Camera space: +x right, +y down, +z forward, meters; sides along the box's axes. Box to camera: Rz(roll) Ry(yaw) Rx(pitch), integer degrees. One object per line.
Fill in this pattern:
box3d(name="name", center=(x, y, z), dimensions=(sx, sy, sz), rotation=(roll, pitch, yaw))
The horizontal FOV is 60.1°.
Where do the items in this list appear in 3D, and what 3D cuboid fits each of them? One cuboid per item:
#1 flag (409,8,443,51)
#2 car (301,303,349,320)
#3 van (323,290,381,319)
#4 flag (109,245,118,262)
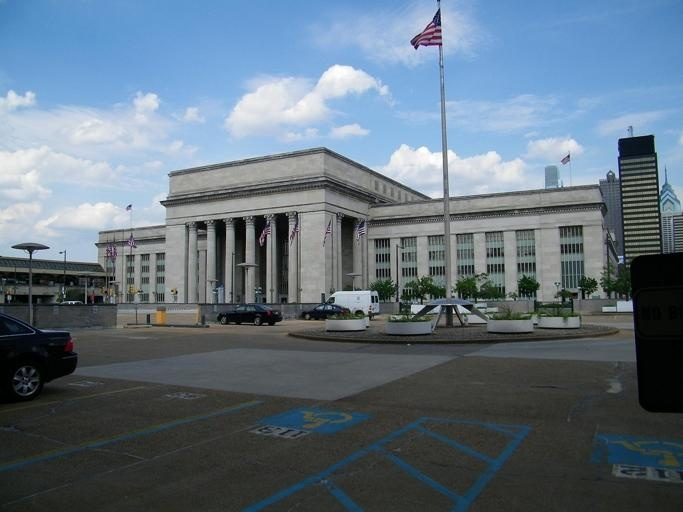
box3d(name="flag", center=(4.360, -11.240, 28.890), dimensions=(1.242, 2.154, 1.402), rotation=(-1, -2, -5))
box3d(name="car", center=(-1.497, 4.367, 46.099), dimensions=(1.316, 1.431, 6.525), rotation=(0, -3, -27))
box3d(name="van", center=(0.801, 3.866, 47.581), dimensions=(3.744, 1.910, 2.069), rotation=(1, -4, 13))
box3d(name="flag", center=(-27.682, -0.595, 71.319), dimensions=(0.521, 1.600, 2.671), rotation=(0, -3, -16))
